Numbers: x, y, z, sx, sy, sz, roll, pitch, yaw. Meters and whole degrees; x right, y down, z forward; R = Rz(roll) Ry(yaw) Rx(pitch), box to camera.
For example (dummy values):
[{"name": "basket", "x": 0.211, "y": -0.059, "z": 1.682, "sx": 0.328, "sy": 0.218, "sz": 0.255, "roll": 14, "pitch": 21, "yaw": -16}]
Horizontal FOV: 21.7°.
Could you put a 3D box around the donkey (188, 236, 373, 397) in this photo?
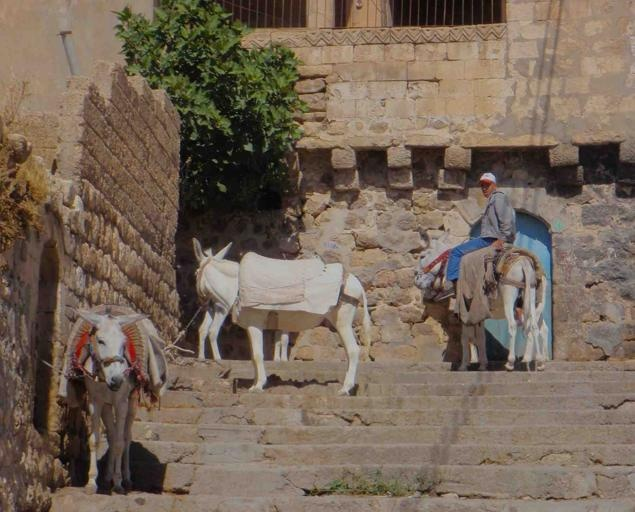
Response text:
[{"name": "donkey", "x": -0.559, "y": 0.836, "z": 22.225, "sx": 2.751, "sy": 1.987, "sz": 0.803, "roll": 1, "pitch": -2, "yaw": 20}]

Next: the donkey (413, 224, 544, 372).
[{"name": "donkey", "x": 2.272, "y": 0.583, "z": 23.266, "sx": 0.835, "sy": 1.979, "sz": 2.520, "roll": 4, "pitch": -5, "yaw": -31}]

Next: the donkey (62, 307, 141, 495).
[{"name": "donkey", "x": -2.371, "y": 1.674, "z": 19.110, "sx": 0.946, "sy": 2.048, "sz": 0.932, "roll": -2, "pitch": 7, "yaw": -21}]

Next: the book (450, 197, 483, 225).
[{"name": "book", "x": 2.346, "y": -0.709, "z": 25.789, "sx": 0.410, "sy": 0.419, "sz": 0.114, "roll": -47, "pitch": -2, "yaw": -36}]

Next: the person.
[{"name": "person", "x": 2.330, "y": -0.315, "z": 23.158, "sx": 0.885, "sy": 1.817, "sz": 0.942, "roll": -3, "pitch": 9, "yaw": -15}]
